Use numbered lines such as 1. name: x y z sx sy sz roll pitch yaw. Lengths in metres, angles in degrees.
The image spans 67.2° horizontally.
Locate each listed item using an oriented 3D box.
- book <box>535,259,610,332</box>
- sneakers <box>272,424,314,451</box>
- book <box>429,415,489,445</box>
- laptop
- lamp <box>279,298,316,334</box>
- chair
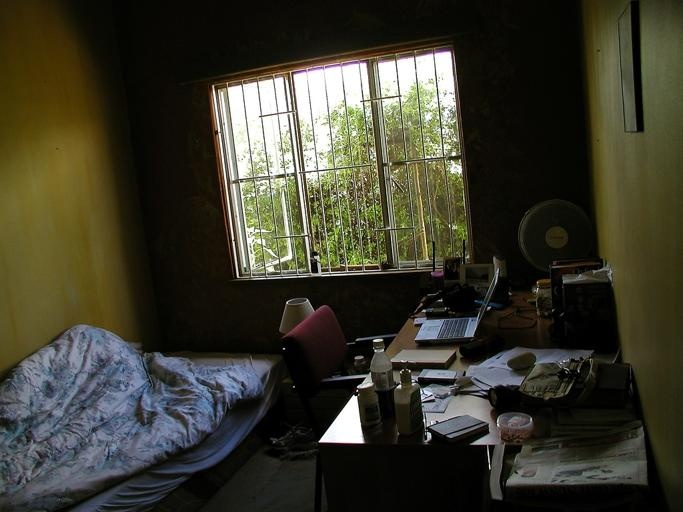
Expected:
1. book: 1.189 0.200 2.808 0.245 0.385 0.132 2 3 -1
2. sneakers: -0.313 1.232 3.471 0.303 0.151 0.124 0 1 -3
3. book: 0.430 0.635 1.878 0.111 0.031 0.106 -12 10 -40
4. laptop: 0.599 0.214 2.692 0.373 0.276 0.426 -1 10 16
5. lamp: -0.306 0.421 3.684 0.219 0.172 0.255 -2 1 14
6. chair: -0.043 0.649 2.884 0.476 0.777 0.588 -10 18 18
